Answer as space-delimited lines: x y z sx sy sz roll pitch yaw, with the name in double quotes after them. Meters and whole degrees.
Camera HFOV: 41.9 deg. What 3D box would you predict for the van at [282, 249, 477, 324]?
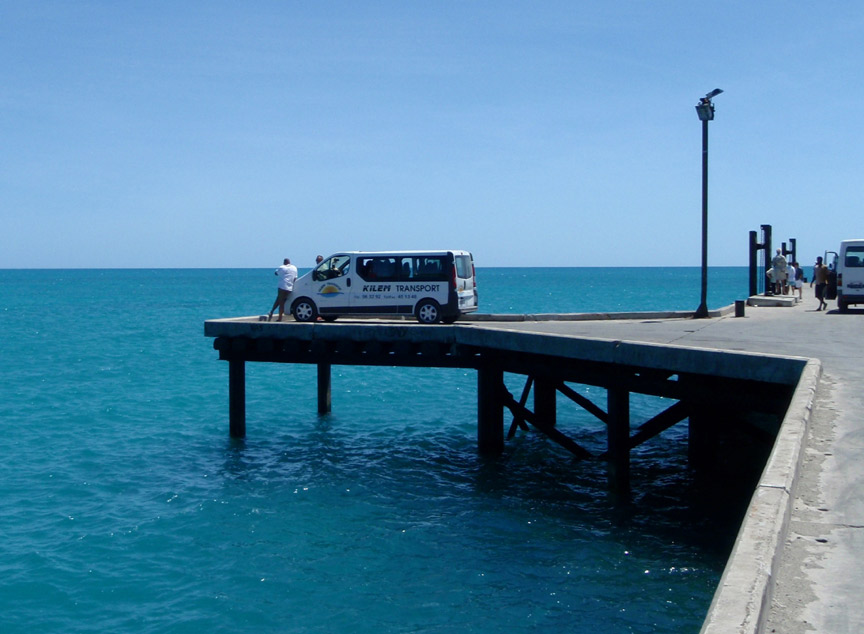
-1.012 -0.734 26.958 3.380 1.385 1.913 2 3 12 "van"
